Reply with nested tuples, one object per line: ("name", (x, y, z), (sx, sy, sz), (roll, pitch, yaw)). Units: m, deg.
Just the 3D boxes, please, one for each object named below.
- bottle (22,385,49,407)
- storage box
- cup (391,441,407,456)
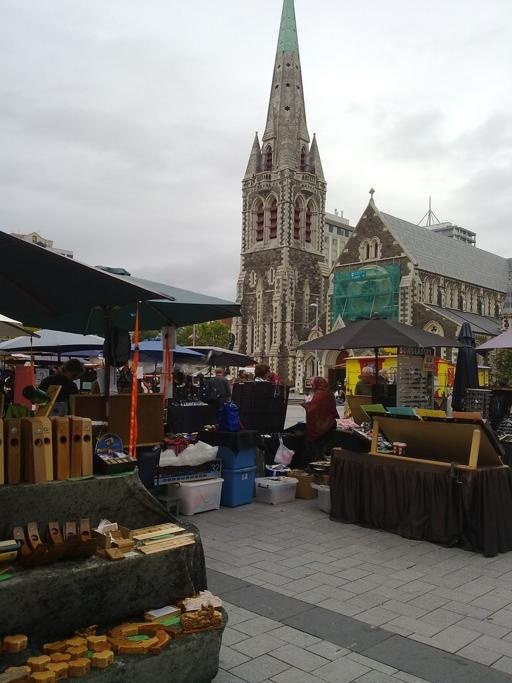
("bottle", (-1.507, 0.365, 4.447), (0.147, 0.124, 0.295), (4, -3, -32))
("storage box", (-0.202, 1.710, 9.130), (0.954, 1.205, 1.394), (-10, -13, 40))
("cup", (1.673, 1.265, 7.691), (0.153, 0.133, 0.143), (-1, -3, 0))
